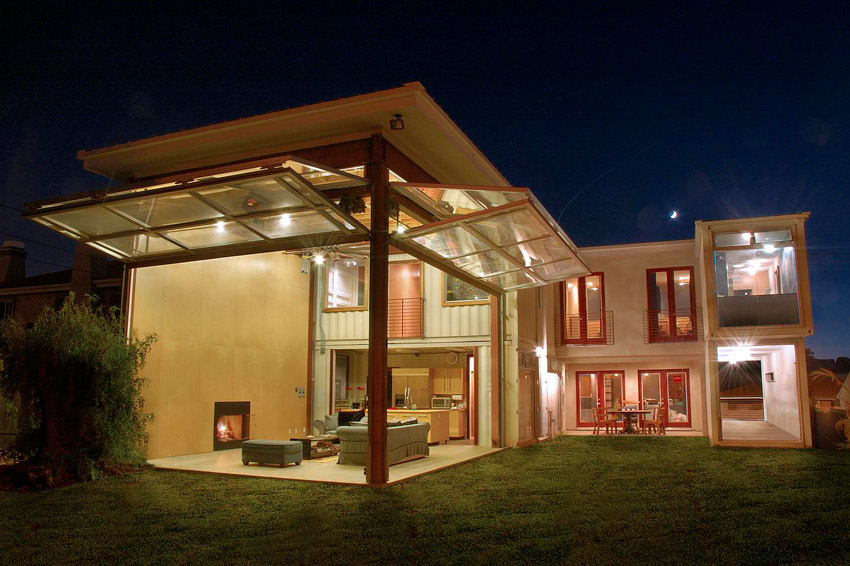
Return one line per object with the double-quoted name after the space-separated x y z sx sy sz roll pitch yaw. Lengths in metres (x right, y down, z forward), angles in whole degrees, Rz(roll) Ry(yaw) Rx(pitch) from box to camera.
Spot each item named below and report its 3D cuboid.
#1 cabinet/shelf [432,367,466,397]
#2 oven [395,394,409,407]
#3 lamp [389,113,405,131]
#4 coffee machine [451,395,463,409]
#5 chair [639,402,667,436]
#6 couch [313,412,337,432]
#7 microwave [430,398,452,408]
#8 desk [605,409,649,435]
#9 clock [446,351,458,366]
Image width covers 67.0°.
0.802 3.216 20.685 0.957 0.733 0.298 -3 -10 23 "cabinet/shelf"
-0.785 3.808 20.761 0.450 0.413 0.326 -2 -11 15 "oven"
-0.603 -3.443 13.669 0.323 0.307 0.202 0 1 -7 "lamp"
1.023 3.800 20.484 0.590 0.534 0.310 -1 -12 9 "coffee machine"
8.014 4.791 22.493 0.999 1.349 0.970 4 -8 -17 "chair"
-2.838 4.054 18.434 0.643 0.437 0.754 0 1 -2 "couch"
0.484 3.708 19.876 0.528 0.308 0.353 -1 -9 7 "microwave"
7.179 4.727 22.243 1.405 0.628 1.342 0 -8 -1 "desk"
0.875 2.443 20.757 0.418 0.392 0.096 13 3 30 "clock"
